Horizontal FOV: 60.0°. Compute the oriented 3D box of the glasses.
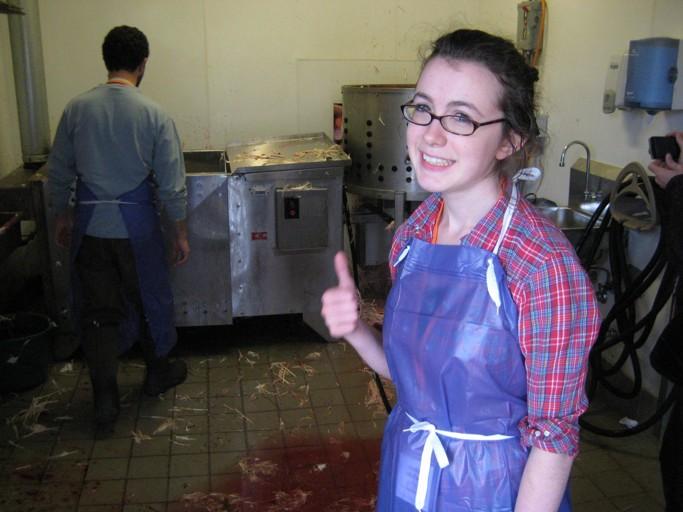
[{"bbox_3d":[0.270,-0.342,1.461,0.278,0.077,0.134,5,20,20],"label":"glasses"}]

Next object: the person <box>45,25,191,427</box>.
[{"bbox_3d":[-1.161,-0.182,3.247,0.731,2.034,0.662,-11,20,-26],"label":"person"}]
